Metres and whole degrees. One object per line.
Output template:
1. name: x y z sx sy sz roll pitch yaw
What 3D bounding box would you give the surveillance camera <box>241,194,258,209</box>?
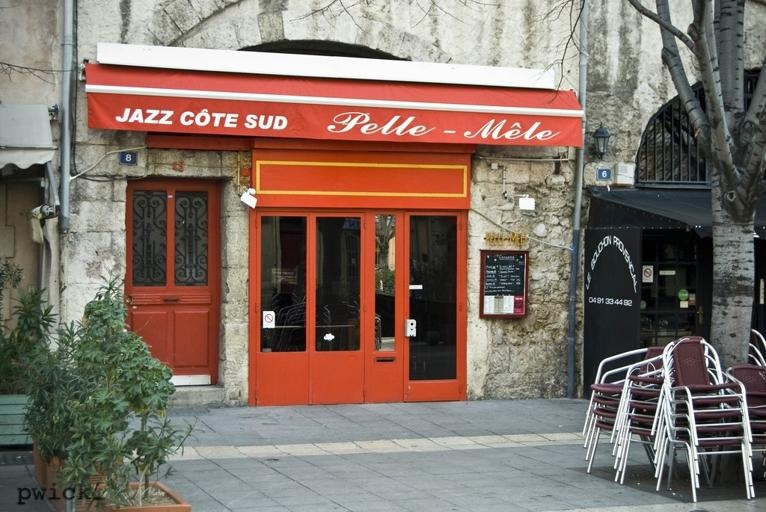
1. surveillance camera: -1.945 -0.799 14.975 0.226 0.233 0.158 0 7 -14

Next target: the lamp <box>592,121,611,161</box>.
1. lamp: 3.444 -1.795 16.211 0.294 0.538 0.301 1 7 0

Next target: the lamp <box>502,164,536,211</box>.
1. lamp: 2.085 -0.929 15.809 0.601 0.656 0.151 1 -1 -7

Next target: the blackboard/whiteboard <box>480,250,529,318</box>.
1. blackboard/whiteboard: 1.830 0.428 15.866 1.065 1.274 0.084 1 -4 -16
